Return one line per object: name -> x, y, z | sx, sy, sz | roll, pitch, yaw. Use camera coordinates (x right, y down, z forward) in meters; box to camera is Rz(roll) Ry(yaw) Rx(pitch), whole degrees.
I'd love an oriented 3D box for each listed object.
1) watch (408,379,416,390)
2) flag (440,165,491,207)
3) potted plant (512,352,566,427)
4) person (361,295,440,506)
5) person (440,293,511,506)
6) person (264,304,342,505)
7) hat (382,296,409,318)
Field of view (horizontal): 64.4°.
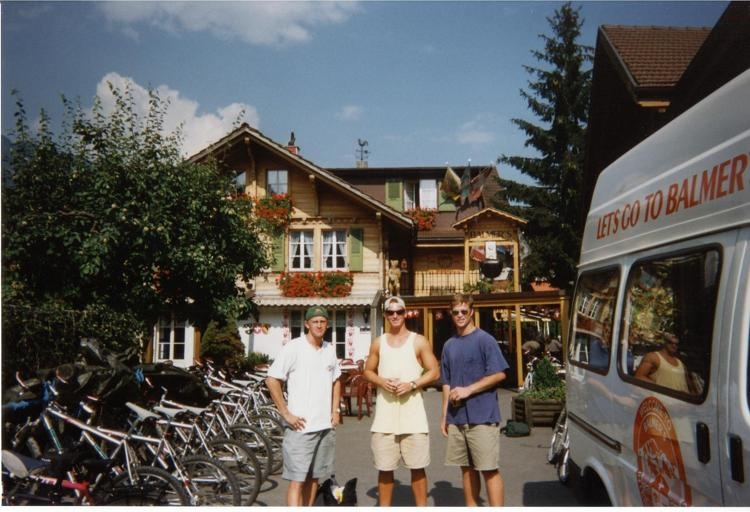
watch -> 0.452, 1.534, 7.122 | 0.059, 0.103, 0.087 | 0, -12, -3
flag -> 3.879, -3.124, 25.605 | 1.887, 2.204, 4.360 | -1, -10, 8
potted plant -> 3.497, 2.862, 12.558 | 1.073, 1.444, 0.611 | -2, -9, 12
person -> 0.320, 1.738, 7.196 | 0.862, 2.481, 0.384 | 1, -8, -1
person -> 1.207, 1.698, 7.145 | 0.790, 2.491, 0.399 | -1, -9, 12
person -> -0.835, 1.740, 7.057 | 0.860, 2.277, 0.337 | 2, -9, -12
hat -> 0.272, 0.672, 7.360 | 0.201, 0.314, 0.234 | -4, 30, 0
